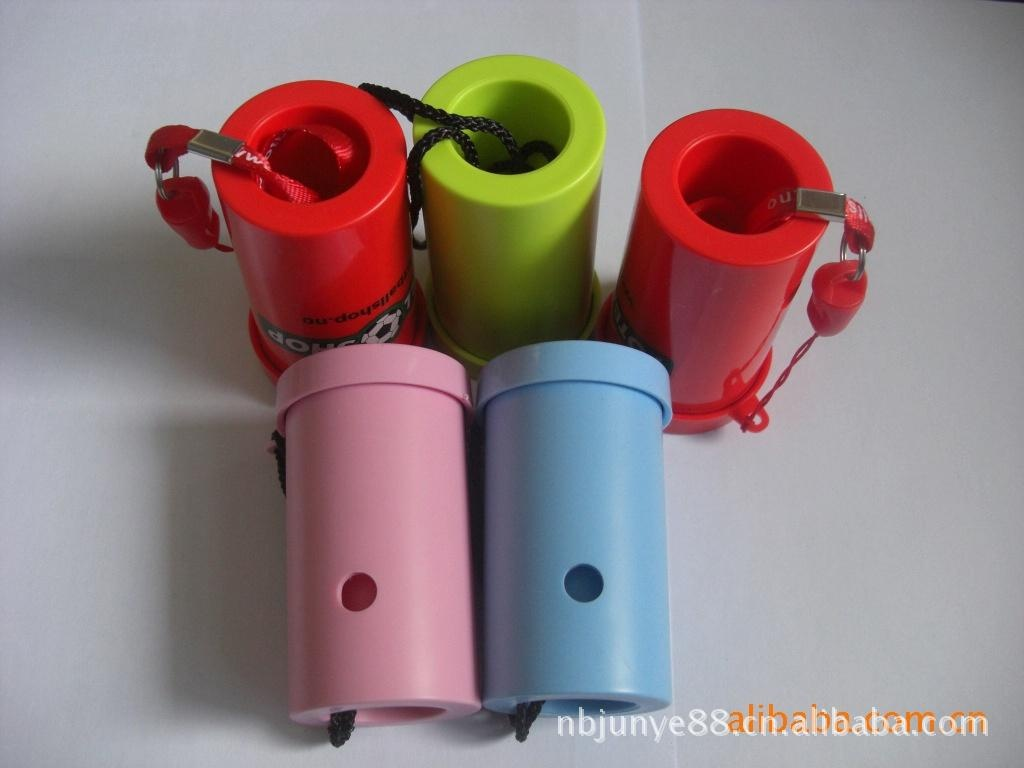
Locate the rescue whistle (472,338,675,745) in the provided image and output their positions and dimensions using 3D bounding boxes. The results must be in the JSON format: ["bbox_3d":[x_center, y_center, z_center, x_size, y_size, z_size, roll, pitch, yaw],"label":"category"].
[{"bbox_3d":[0.057,0.130,1.204,0.203,0.260,0.262,-4,39,8],"label":"rescue whistle"}]

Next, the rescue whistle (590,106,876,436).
[{"bbox_3d":[0.225,-0.119,1.350,0.263,0.405,0.250,20,64,7],"label":"rescue whistle"}]

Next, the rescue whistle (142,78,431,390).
[{"bbox_3d":[-0.232,-0.121,1.355,0.283,0.344,0.218,8,57,7],"label":"rescue whistle"}]
